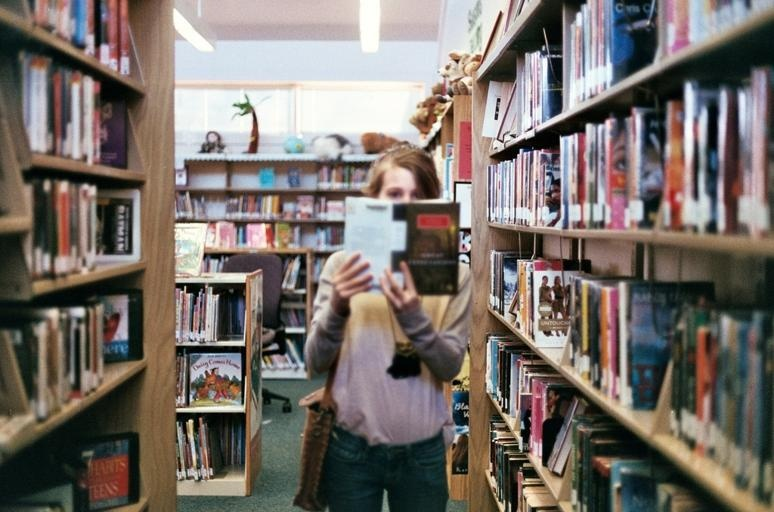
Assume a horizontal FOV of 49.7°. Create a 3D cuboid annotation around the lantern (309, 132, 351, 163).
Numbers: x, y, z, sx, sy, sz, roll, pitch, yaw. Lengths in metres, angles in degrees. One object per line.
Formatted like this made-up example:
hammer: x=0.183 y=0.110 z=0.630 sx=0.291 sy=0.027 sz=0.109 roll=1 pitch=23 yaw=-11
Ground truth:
lantern: x=-0.527 y=-1.029 z=7.918 sx=0.217 sy=0.181 sz=0.339 roll=-6 pitch=2 yaw=2
